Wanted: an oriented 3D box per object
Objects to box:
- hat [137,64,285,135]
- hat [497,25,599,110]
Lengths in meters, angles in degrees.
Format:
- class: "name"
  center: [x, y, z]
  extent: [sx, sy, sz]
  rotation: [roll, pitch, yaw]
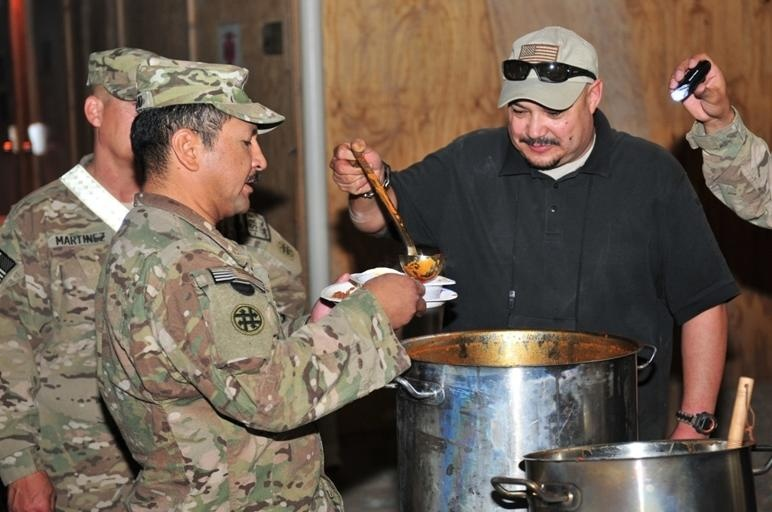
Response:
- class: "hat"
  center: [-0.740, -0.702, 5.603]
  extent: [0.436, 0.200, 0.302]
  rotation: [15, 2, -1]
- class: "hat"
  center: [0.734, -0.893, 6.188]
  extent: [0.318, 0.260, 0.471]
  rotation: [12, 33, 29]
